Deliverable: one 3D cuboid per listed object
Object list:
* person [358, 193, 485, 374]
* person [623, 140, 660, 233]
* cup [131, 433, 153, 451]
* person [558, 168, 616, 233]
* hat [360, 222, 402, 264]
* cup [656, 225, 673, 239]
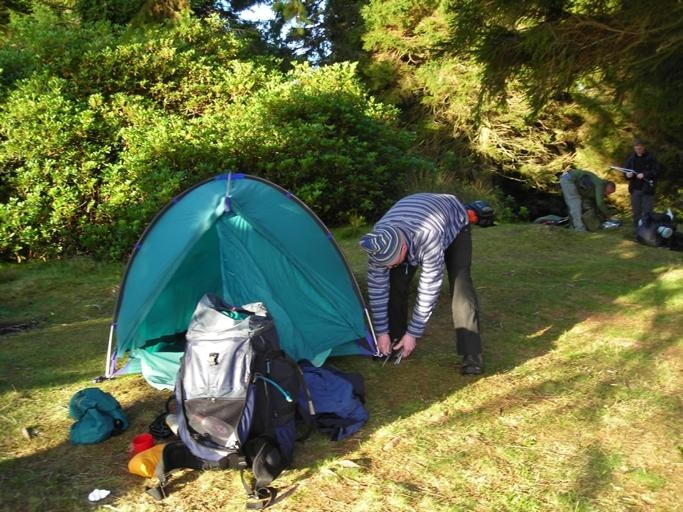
[{"bbox_3d":[0.824,0.307,6.327,1.089,1.922,0.942,-5,4,8],"label":"person"},{"bbox_3d":[5.911,-1.428,12.176,0.531,1.681,0.667,-7,4,-11],"label":"person"},{"bbox_3d":[-1.807,1.688,5.564,0.177,0.081,0.154,0,-2,-1],"label":"cup"},{"bbox_3d":[5.086,-1.175,12.696,0.970,1.346,2.712,-3,3,26],"label":"person"},{"bbox_3d":[0.435,-0.106,5.996,0.498,0.292,0.351,-4,-9,21],"label":"hat"},{"bbox_3d":[5.913,-0.457,11.337,0.227,0.243,0.257,-51,-3,27],"label":"cup"}]
